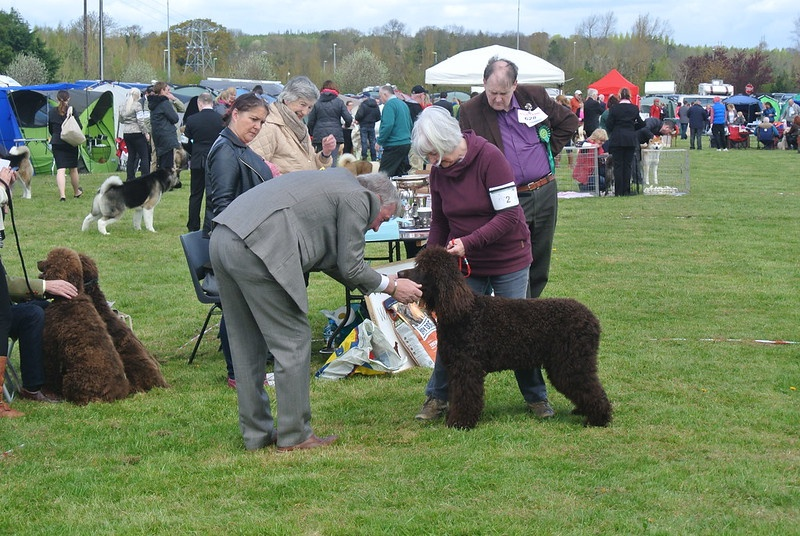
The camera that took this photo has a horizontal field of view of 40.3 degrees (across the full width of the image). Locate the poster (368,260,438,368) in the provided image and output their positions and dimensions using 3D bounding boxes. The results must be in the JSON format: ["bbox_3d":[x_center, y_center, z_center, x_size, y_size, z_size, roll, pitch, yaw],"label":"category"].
[{"bbox_3d":[0.022,0.618,13.785,0.991,1.291,0.268,-3,-5,-40],"label":"poster"}]

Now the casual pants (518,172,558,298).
[{"bbox_3d":[1.565,-0.306,13.021,0.529,1.574,0.405,0,10,-11],"label":"casual pants"}]

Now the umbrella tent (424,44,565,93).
[{"bbox_3d":[2.194,-4.525,24.501,2.768,0.952,4.152,-2,11,-11],"label":"umbrella tent"}]

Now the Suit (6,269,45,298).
[{"bbox_3d":[-4.290,0.191,12.598,0.280,0.333,0.135,2,31,5],"label":"Suit"}]

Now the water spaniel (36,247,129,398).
[{"bbox_3d":[-3.723,0.692,12.661,1.020,1.712,0.438,3,9,14],"label":"water spaniel"}]

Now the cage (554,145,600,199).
[{"bbox_3d":[4.050,-2.347,24.904,0.947,1.157,3.158,1,11,4],"label":"cage"}]

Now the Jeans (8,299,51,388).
[{"bbox_3d":[-4.278,0.935,12.574,0.370,0.973,0.167,-3,9,-20],"label":"Jeans"}]

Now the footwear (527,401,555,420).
[{"bbox_3d":[1.608,1.624,12.425,0.127,0.154,0.338,-8,7,-31],"label":"footwear"}]

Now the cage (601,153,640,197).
[{"bbox_3d":[4.912,-2.062,24.079,0.808,1.281,0.868,-1,1,-17],"label":"cage"}]

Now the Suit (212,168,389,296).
[{"bbox_3d":[-0.976,-0.339,12.074,2.040,1.476,1.448,-4,12,-23],"label":"Suit"}]

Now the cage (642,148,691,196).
[{"bbox_3d":[5.807,-2.103,24.007,0.889,1.056,0.989,0,3,5],"label":"cage"}]

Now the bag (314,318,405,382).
[{"bbox_3d":[-0.499,0.889,13.587,0.926,0.466,0.753,11,51,40],"label":"bag"}]
